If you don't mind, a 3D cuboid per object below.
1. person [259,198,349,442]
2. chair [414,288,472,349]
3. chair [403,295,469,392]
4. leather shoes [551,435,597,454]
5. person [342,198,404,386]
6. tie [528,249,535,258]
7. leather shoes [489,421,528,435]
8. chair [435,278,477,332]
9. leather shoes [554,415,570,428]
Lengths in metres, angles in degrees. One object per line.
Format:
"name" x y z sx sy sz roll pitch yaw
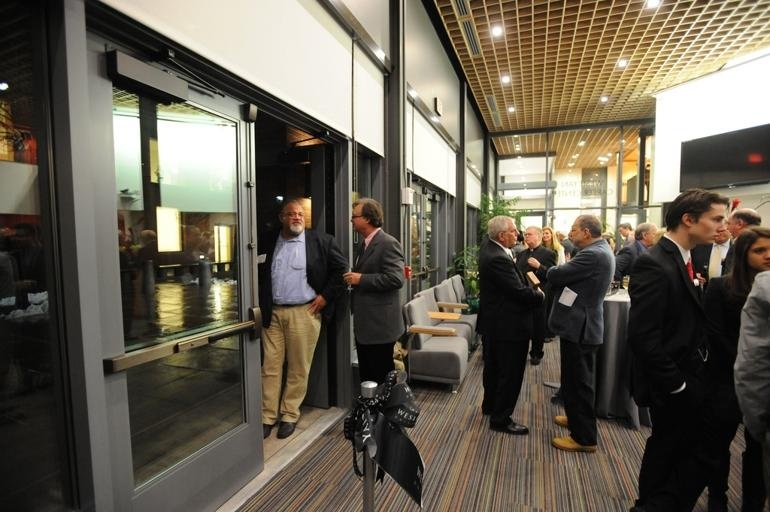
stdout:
"person" -0.730 0.538 4.298 0.727 2.040 0.424 -2 5 -15
"chair" 0.715 0.837 5.866 0.733 0.917 0.745 0 5 14
"chair" 0.617 0.935 5.449 0.639 0.853 0.879 1 5 19
"leather shoes" 1.610 1.605 4.112 0.344 0.149 0.131 5 -3 14
"person" -0.077 0.300 4.168 0.493 1.592 0.350 0 4 10
"tie" 1.865 -0.038 6.136 0.058 0.107 0.082 -1 -10 2
"leather shoes" 1.111 1.555 4.353 0.302 0.114 0.124 -2 -6 14
"chair" 0.990 0.750 6.524 0.559 0.721 1.043 3 3 21
"leather shoes" 1.630 1.530 4.447 0.082 0.082 0.189 5 0 -21
